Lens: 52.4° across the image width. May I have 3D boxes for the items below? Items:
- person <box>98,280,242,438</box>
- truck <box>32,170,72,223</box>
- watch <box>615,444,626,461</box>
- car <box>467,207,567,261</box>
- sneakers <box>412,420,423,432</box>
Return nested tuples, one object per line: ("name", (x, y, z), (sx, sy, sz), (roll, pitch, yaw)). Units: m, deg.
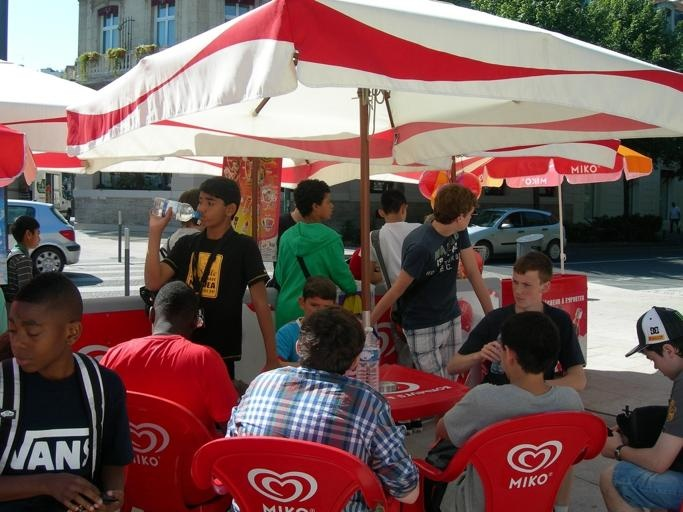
("person", (-1.024, 0.637, 4.070), (0.900, 0.966, 0.539), (6, 8, 6))
("truck", (-13.466, -3.002, 33.307), (2.063, 2.199, 1.500), (3, 3, -1))
("watch", (1.596, 1.137, 4.005), (0.071, 0.081, 0.049), (8, 37, 0))
("car", (5.281, -0.831, 21.782), (3.144, 1.715, 2.003), (1, 0, -16))
("sneakers", (0.615, 1.391, 5.671), (0.043, 0.067, 0.137), (1, 1, 13))
